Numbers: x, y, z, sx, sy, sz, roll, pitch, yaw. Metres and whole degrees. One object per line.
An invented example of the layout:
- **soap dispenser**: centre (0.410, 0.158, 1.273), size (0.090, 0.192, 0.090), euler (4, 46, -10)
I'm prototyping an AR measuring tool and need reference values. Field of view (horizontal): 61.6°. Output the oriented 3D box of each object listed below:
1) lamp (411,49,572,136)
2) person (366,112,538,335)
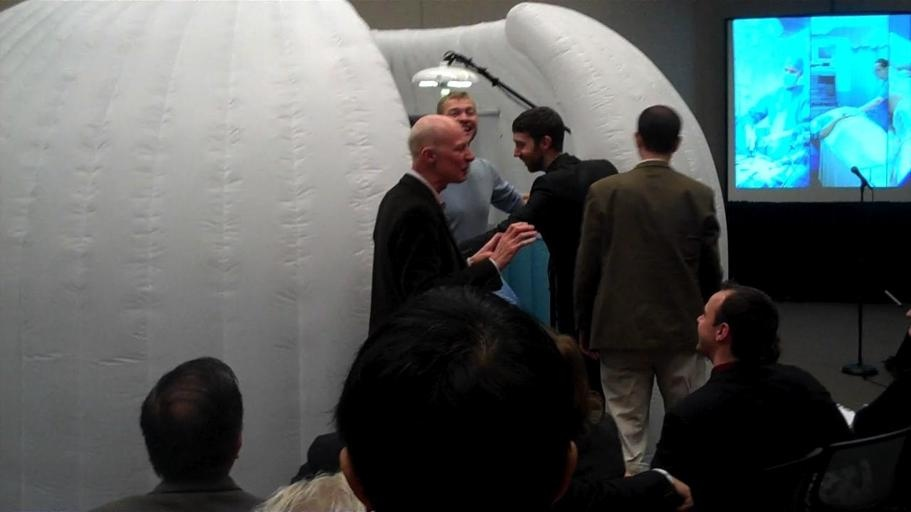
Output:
- **lamp**: centre (0.314, -1.303, 5.963), size (1.102, 0.436, 0.370), euler (3, -4, -1)
- **person**: centre (0.104, -0.362, 5.175), size (1.203, 1.087, 0.295), euler (-20, 32, -24)
